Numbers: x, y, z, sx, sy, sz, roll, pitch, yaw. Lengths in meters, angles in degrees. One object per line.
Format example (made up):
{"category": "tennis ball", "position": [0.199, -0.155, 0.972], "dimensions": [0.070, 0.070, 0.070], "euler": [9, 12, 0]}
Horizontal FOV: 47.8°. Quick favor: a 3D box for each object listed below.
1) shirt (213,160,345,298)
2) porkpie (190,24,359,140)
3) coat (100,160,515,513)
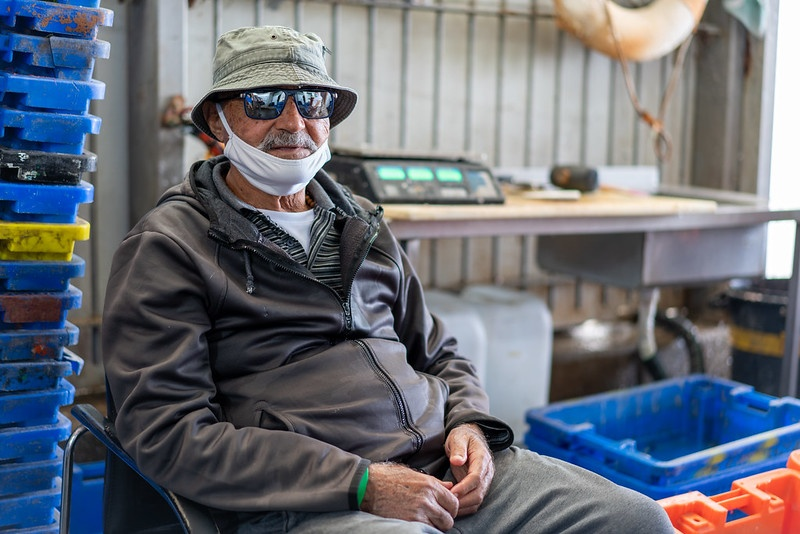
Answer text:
{"category": "shirt", "position": [-0.420, -0.119, 2.697], "dimensions": [0.481, 0.240, 0.482], "euler": [11, -30, -9]}
{"category": "porkpie", "position": [-0.365, -0.603, 2.708], "dimensions": [0.384, 0.205, 0.394], "euler": [-15, -14, 36]}
{"category": "coat", "position": [-0.224, 0.208, 2.798], "dimensions": [0.990, 0.991, 1.271], "euler": [13, 17, 38]}
